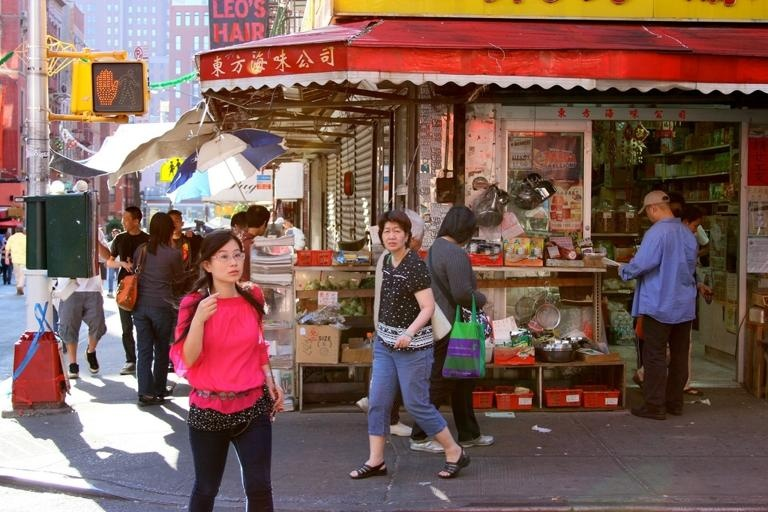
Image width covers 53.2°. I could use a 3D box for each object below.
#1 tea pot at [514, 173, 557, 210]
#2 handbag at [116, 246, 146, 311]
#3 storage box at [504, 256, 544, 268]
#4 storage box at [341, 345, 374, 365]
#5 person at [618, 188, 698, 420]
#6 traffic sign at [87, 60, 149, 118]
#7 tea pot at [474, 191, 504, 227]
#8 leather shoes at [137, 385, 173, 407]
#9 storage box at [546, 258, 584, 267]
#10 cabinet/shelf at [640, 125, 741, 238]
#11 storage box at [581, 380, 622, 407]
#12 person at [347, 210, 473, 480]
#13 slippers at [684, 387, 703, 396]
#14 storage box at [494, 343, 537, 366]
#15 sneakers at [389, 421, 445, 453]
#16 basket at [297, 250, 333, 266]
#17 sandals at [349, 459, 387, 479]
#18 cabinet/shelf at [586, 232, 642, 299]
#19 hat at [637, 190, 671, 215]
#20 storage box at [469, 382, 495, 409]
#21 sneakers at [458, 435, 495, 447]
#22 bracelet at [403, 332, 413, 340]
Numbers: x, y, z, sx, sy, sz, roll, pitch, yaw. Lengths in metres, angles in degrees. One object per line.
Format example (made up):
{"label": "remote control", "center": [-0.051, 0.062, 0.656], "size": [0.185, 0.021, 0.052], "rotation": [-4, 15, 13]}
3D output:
{"label": "tea pot", "center": [1.958, -0.866, 10.135], "size": [0.548, 0.423, 0.215], "rotation": [-41, -1, 4]}
{"label": "handbag", "center": [-3.343, 0.308, 10.011], "size": [0.387, 0.831, 0.594], "rotation": [-6, 10, -29]}
{"label": "storage box", "center": [1.754, 0.059, 9.754], "size": [0.471, 0.133, 0.067], "rotation": [-1, 9, 0]}
{"label": "storage box", "center": [-0.343, 1.245, 9.620], "size": [0.354, 0.158, 0.351], "rotation": [1, -1, -4]}
{"label": "person", "center": [3.407, 0.578, 9.463], "size": [0.885, 2.694, 0.644], "rotation": [-5, 10, -28]}
{"label": "traffic sign", "center": [-3.682, -2.326, 10.565], "size": [0.858, 0.793, 0.356], "rotation": [-1, 1, -5]}
{"label": "tea pot", "center": [1.322, -0.613, 9.943], "size": [0.375, 0.465, 0.179], "rotation": [9, 4, -26]}
{"label": "leather shoes", "center": [-3.027, 1.851, 10.147], "size": [0.146, 0.180, 0.448], "rotation": [3, 5, 27]}
{"label": "storage box", "center": [2.300, 0.082, 9.789], "size": [0.490, 0.098, 0.077], "rotation": [-1, 9, -1]}
{"label": "cabinet/shelf", "center": [4.974, -1.219, 12.331], "size": [0.627, 1.873, 1.949], "rotation": [-2, 4, -21]}
{"label": "storage box", "center": [2.740, 1.776, 9.738], "size": [0.475, 0.229, 0.375], "rotation": [1, 10, 9]}
{"label": "person", "center": [0.189, 0.902, 7.600], "size": [1.034, 2.675, 0.487], "rotation": [0, 9, 2]}
{"label": "slippers", "center": [4.113, 1.802, 10.223], "size": [0.243, 0.064, 0.094], "rotation": [-1, 5, 4]}
{"label": "storage box", "center": [1.605, 1.237, 9.437], "size": [0.372, 0.165, 0.260], "rotation": [0, -3, -1]}
{"label": "sneakers", "center": [0.352, 2.027, 8.550], "size": [0.667, 0.264, 0.228], "rotation": [2, -12, 11]}
{"label": "basket", "center": [-0.905, 0.018, 9.860], "size": [0.464, 0.195, 0.240], "rotation": [-2, 9, -7]}
{"label": "sandals", "center": [-0.151, 2.160, 7.797], "size": [0.413, 0.169, 0.148], "rotation": [1, -4, -11]}
{"label": "cabinet/shelf", "center": [3.382, 0.095, 11.349], "size": [1.125, 1.051, 0.758], "rotation": [-1, 0, 2]}
{"label": "hat", "center": [3.350, -0.686, 9.630], "size": [0.258, 0.226, 0.390], "rotation": [-9, -2, -38]}
{"label": "storage box", "center": [1.249, 1.782, 9.672], "size": [0.349, 0.192, 0.541], "rotation": [0, 0, 1]}
{"label": "sneakers", "center": [1.044, 2.062, 8.581], "size": [0.335, 0.140, 0.143], "rotation": [-3, -1, -5]}
{"label": "bracelet", "center": [0.219, 0.755, 7.363], "size": [0.078, 0.022, 0.074], "rotation": [43, -7, -32]}
